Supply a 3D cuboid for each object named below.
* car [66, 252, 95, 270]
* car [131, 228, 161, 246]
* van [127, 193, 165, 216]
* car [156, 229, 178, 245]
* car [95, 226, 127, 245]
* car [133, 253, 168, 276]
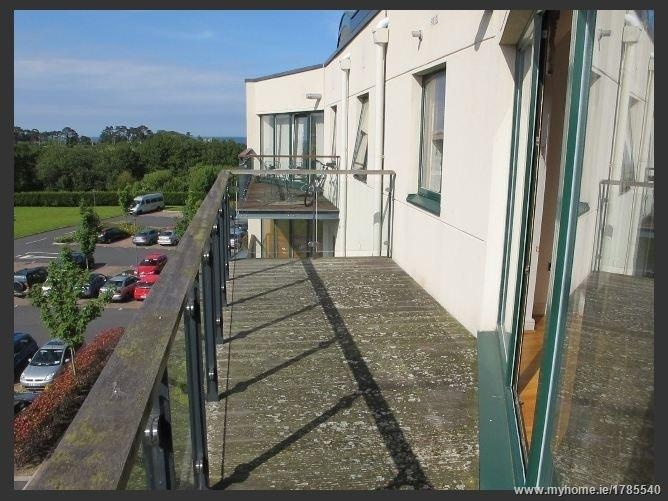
[{"bbox_3d":[-12.972,0.556,27.085,1.183,0.965,2.694,-2,9,-19],"label":"car"},{"bbox_3d":[-11.892,-0.786,33.888,0.761,0.650,1.810,0,20,2],"label":"car"},{"bbox_3d":[-14.961,-3.756,42.780,0.969,1.245,2.830,-1,4,11],"label":"van"},{"bbox_3d":[-10.014,-0.742,31.659,0.934,0.804,2.331,-1,17,-5],"label":"car"},{"bbox_3d":[-13.909,-0.995,33.299,0.711,1.061,3.340,1,13,0],"label":"car"},{"bbox_3d":[-6.881,0.499,19.541,0.774,0.704,1.968,-3,6,-4],"label":"car"}]
